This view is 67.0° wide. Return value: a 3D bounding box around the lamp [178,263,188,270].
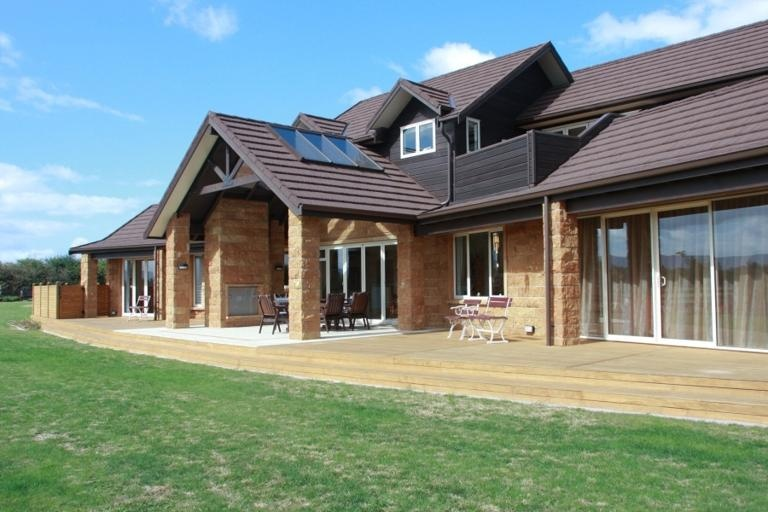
[{"bbox_3d":[-7.843,0.425,22.693,0.418,0.306,0.232,3,-8,-32],"label":"lamp"}]
